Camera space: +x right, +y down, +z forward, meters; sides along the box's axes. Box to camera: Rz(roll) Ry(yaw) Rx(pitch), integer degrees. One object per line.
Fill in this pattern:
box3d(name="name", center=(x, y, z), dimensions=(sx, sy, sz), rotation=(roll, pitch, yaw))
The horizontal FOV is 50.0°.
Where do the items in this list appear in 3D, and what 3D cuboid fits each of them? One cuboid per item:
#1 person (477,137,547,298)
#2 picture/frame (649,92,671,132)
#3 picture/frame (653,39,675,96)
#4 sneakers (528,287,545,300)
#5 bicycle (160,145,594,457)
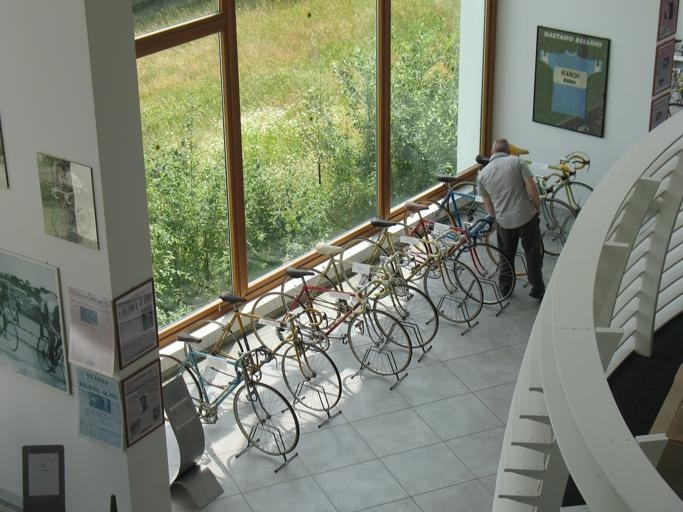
box3d(name="person", center=(1.860, -0.342, 7.900), dimensions=(0.732, 1.791, 0.302), rotation=(1, 17, 16))
box3d(name="picture/frame", center=(3.932, -1.759, 8.883), dimensions=(0.035, 0.417, 0.520), rotation=(18, 30, 42))
box3d(name="picture/frame", center=(3.922, -2.273, 8.722), dimensions=(0.048, 0.742, 0.690), rotation=(11, 39, 33))
box3d(name="sneakers", center=(2.164, 0.405, 7.950), dimensions=(0.166, 0.182, 0.091), rotation=(-5, 20, 43))
box3d(name="bicycle", center=(0.120, 0.449, 6.861), dimensions=(3.239, 1.647, 0.737), rotation=(-31, 33, -7))
